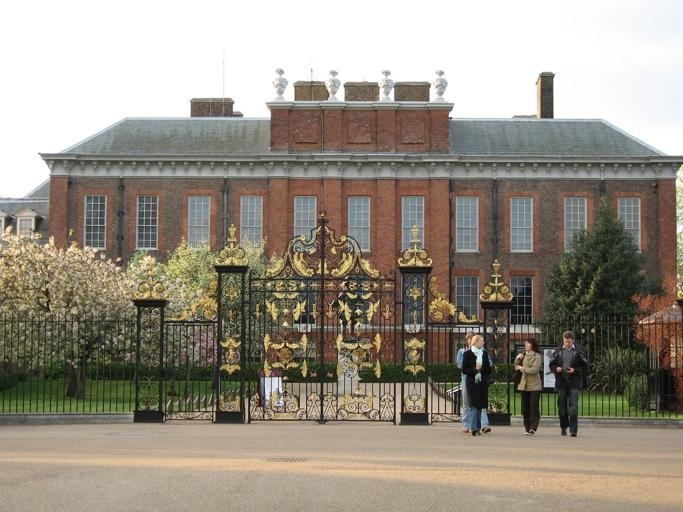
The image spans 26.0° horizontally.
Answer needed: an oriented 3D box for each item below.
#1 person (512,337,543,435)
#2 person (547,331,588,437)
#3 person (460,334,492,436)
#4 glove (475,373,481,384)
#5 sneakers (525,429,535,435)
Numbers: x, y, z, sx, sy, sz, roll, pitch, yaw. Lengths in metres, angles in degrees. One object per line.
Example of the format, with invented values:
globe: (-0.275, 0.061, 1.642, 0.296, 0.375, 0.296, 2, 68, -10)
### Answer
person: (5.243, 3.680, 41.735, 0.700, 2.732, 1.291, -1, -10, 6)
person: (6.274, 3.551, 41.139, 1.006, 2.906, 0.751, -2, -10, 10)
person: (3.723, 3.609, 41.349, 0.815, 2.838, 0.472, -1, -9, 4)
glove: (3.752, 3.409, 41.183, 0.141, 0.263, 0.061, -1, -21, 6)
sneakers: (5.225, 4.903, 41.257, 0.260, 0.155, 0.198, -2, -10, 7)
